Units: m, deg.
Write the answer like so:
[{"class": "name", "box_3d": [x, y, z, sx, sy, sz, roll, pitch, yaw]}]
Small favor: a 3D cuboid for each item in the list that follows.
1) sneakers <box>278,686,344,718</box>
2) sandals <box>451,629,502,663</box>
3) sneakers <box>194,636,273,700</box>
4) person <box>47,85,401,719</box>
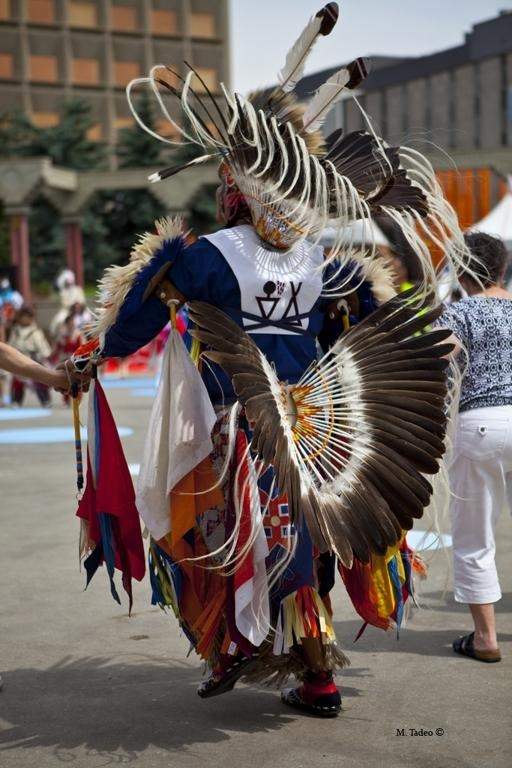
[{"class": "sneakers", "box_3d": [0.178, 1.001, 3.214, 0.201, 0.074, 0.073, 5, 4, 42]}, {"class": "sandals", "box_3d": [0.800, 0.957, 3.663, 0.076, 0.059, 0.164, -4, 4, -27]}, {"class": "sneakers", "box_3d": [-0.085, 0.885, 3.111, 0.291, 0.111, 0.098, -39, -6, 16]}, {"class": "person", "box_3d": [-0.010, 0.044, 3.197, 0.844, 1.977, 0.578, -4, 7, -36]}]
